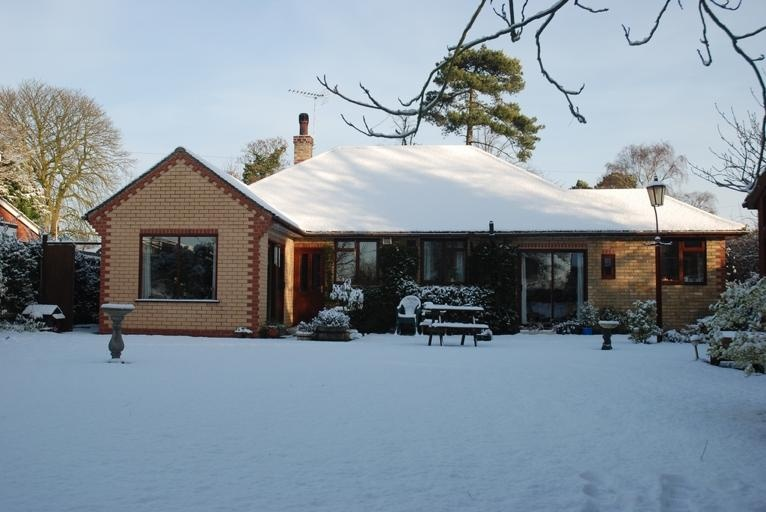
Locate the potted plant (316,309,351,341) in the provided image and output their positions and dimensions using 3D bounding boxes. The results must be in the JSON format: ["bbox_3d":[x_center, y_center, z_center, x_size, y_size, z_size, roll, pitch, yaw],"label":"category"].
[{"bbox_3d":[-1.529,2.118,24.666,0.897,0.720,0.940,1,-9,-6],"label":"potted plant"}]

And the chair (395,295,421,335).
[{"bbox_3d":[0.843,1.966,26.582,0.789,1.309,0.859,0,8,0],"label":"chair"}]
